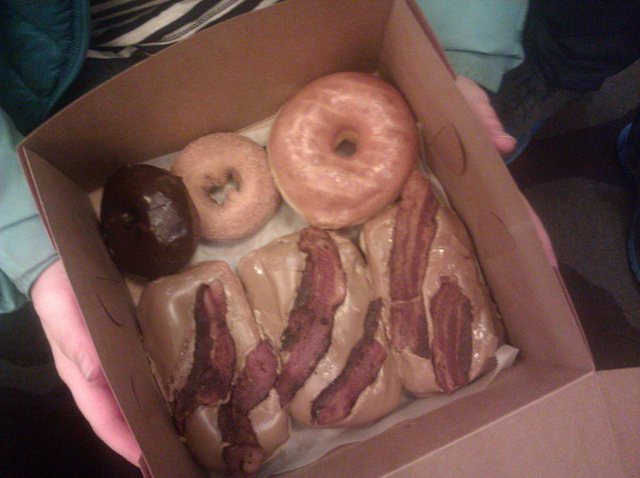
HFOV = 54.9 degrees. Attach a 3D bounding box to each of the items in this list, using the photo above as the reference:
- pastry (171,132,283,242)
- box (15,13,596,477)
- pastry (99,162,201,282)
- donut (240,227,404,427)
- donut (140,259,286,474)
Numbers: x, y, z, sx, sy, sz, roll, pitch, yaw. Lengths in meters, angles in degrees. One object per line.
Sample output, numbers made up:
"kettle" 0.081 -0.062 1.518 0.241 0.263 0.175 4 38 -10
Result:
"pastry" -0.254 -0.139 1.578 0.261 0.093 0.271 -43 69 10
"box" -0.041 0.041 1.376 1.007 0.347 1.086 -26 78 0
"pastry" -0.405 -0.039 1.508 0.212 0.086 0.276 -28 94 0
"donut" 0.011 0.248 1.528 0.306 0.180 0.592 -8 44 -13
"donut" -0.249 0.302 1.428 0.235 0.154 0.560 -11 84 -14
